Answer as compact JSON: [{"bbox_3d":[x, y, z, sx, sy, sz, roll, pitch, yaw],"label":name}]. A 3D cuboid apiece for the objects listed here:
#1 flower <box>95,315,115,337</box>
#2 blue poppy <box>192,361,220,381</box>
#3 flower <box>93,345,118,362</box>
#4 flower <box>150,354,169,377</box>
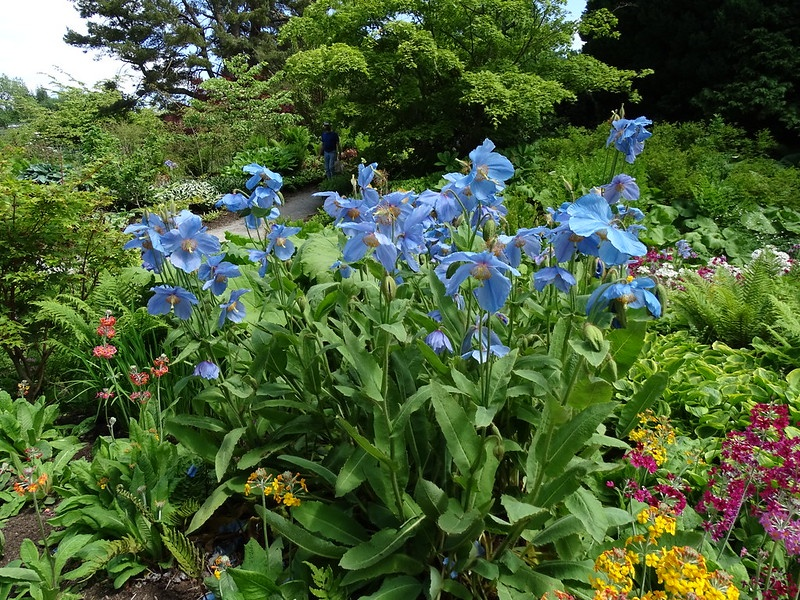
[{"bbox_3d":[-1.894,0.176,3.764,0.074,0.185,0.072,24,30,-2],"label":"flower"},{"bbox_3d":[-1.027,0.398,3.140,0.111,0.069,0.109,6,11,0],"label":"blue poppy"},{"bbox_3d":[-1.893,0.344,3.761,0.117,0.122,0.116,12,19,4],"label":"flower"},{"bbox_3d":[-1.516,0.422,3.695,0.091,0.079,0.181,36,-20,-8],"label":"flower"}]
